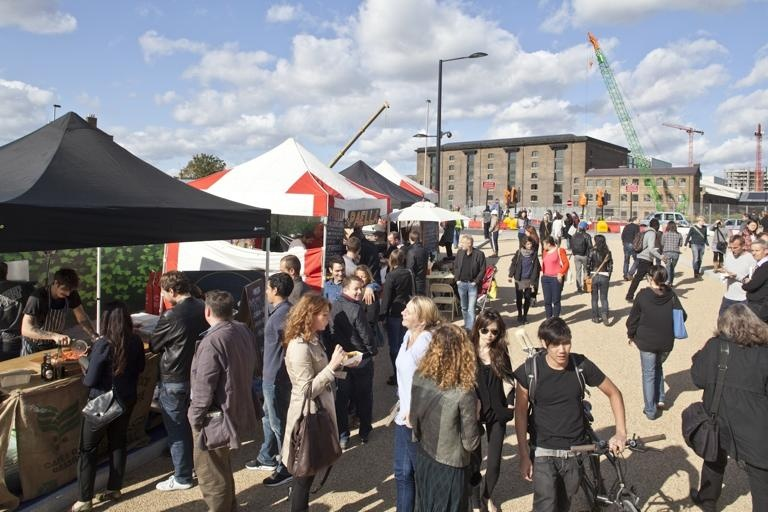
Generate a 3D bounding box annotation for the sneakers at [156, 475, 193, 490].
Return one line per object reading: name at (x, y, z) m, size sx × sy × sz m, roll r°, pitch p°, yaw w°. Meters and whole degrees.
sneakers at (-2.642, 2.884, 7.868) m, size 0.427 × 0.184 × 0.179 m, roll 8°, pitch -27°, yaw -3°

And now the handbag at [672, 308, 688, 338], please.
handbag at (4.375, 0.986, 9.173) m, size 0.182 × 0.419 × 0.401 m, roll -1°, pitch 0°, yaw 25°

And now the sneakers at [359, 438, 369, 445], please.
sneakers at (-0.281, 2.591, 8.795) m, size 0.119 × 0.092 × 0.104 m, roll -2°, pitch 0°, yaw -1°

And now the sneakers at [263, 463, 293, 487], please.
sneakers at (-1.233, 2.813, 8.001) m, size 0.619 × 0.267 × 0.225 m, roll 10°, pitch -15°, yaw -29°

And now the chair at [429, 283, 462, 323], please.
chair at (1.404, 1.029, 14.472) m, size 0.573 × 0.924 × 0.658 m, roll -4°, pitch -13°, yaw 8°

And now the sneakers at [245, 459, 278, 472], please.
sneakers at (-1.635, 2.765, 8.280) m, size 0.415 × 0.182 × 0.160 m, roll 6°, pitch -14°, yaw 9°

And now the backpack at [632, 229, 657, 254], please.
backpack at (6.811, -0.359, 16.179) m, size 0.564 × 0.624 × 0.394 m, roll 11°, pitch 3°, yaw 22°

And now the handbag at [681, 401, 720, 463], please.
handbag at (3.722, 2.030, 7.286) m, size 0.342 × 0.661 × 0.637 m, roll -1°, pitch 1°, yaw 0°

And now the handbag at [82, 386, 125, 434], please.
handbag at (-3.369, 1.715, 7.405) m, size 0.499 × 0.262 × 0.457 m, roll 34°, pitch 3°, yaw -45°

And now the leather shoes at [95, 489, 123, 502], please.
leather shoes at (-3.400, 2.924, 7.640) m, size 0.265 × 0.120 × 0.132 m, roll 8°, pitch -13°, yaw -9°

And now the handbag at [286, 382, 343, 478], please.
handbag at (-0.794, 1.973, 6.911) m, size 0.602 × 0.963 × 0.182 m, roll -1°, pitch 0°, yaw -15°

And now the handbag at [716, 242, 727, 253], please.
handbag at (9.489, -0.262, 17.416) m, size 0.203 × 0.279 × 0.279 m, roll -4°, pitch -24°, yaw 26°

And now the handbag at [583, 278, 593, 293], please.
handbag at (5.343, 0.747, 16.187) m, size 0.209 × 0.411 × 0.506 m, roll 3°, pitch 1°, yaw 20°

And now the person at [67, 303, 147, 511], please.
person at (-3.312, 1.783, 7.440) m, size 0.797 × 2.574 × 0.410 m, roll -1°, pitch 0°, yaw -15°
